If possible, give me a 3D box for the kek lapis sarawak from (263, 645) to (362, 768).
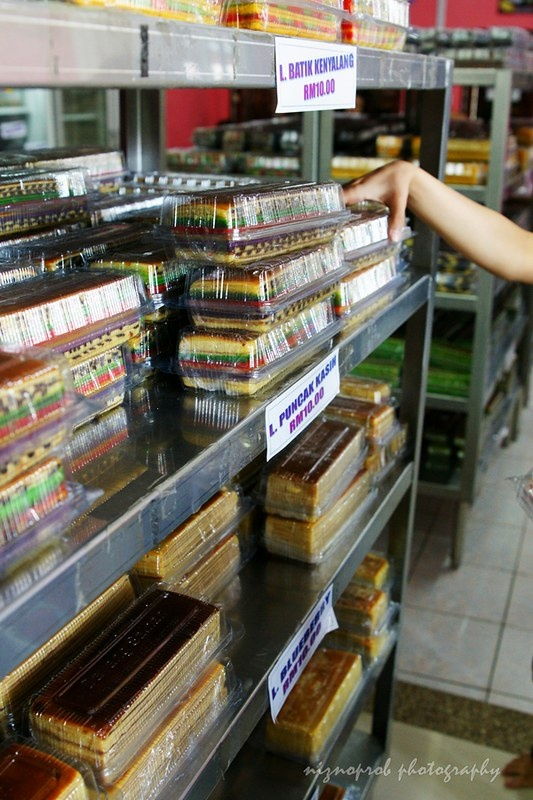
[{"bbox_3d":[0.120,0.685,1.311,0.110,0.071,0.299,1,11,24],"label":"kek lapis sarawak"}]
